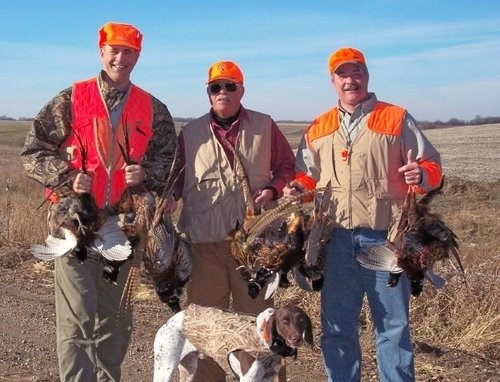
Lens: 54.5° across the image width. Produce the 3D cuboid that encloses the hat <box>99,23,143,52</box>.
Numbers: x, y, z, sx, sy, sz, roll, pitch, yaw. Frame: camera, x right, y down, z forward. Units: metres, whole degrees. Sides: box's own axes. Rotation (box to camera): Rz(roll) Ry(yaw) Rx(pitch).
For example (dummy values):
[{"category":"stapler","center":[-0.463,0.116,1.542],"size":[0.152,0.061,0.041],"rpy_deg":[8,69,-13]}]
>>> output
[{"category":"hat","center":[-1.523,-1.776,5.637],"size":[0.485,0.311,0.264],"rpy_deg":[-2,8,-16]}]

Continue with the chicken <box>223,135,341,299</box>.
[{"category":"chicken","center":[0.340,0.402,5.390],"size":[1.161,1.845,0.866],"rpy_deg":[-1,8,-4]}]
